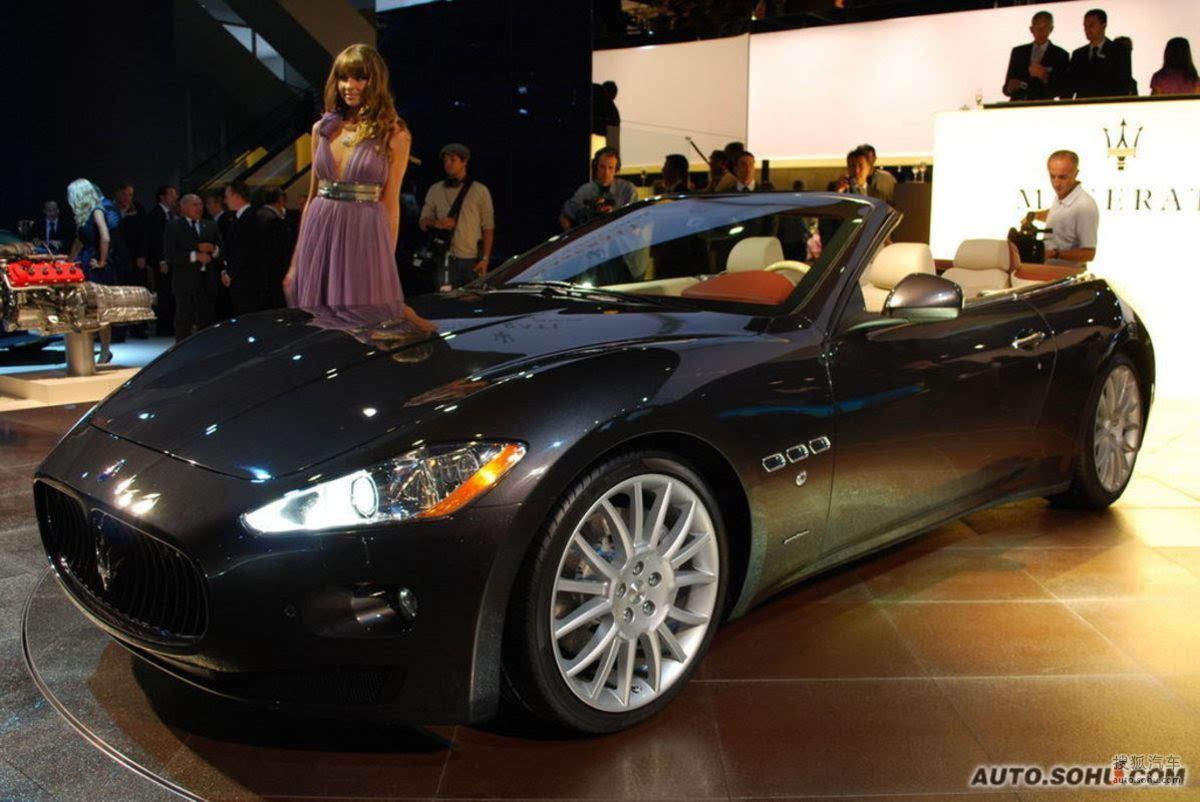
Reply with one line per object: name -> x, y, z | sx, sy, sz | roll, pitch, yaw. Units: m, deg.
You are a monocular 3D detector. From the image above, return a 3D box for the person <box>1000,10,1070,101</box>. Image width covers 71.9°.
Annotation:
person -> 5.032, -3.958, 9.507 | 0.662, 0.970, 0.391 | 5, 14, 28

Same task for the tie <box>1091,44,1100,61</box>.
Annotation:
tie -> 5.609, -3.946, 9.339 | 0.062, 0.107, 0.097 | 0, 1, -34

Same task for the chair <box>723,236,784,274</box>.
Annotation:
chair -> 0.696, -0.655, 3.707 | 0.182, 0.180, 0.187 | 2, 13, 37
